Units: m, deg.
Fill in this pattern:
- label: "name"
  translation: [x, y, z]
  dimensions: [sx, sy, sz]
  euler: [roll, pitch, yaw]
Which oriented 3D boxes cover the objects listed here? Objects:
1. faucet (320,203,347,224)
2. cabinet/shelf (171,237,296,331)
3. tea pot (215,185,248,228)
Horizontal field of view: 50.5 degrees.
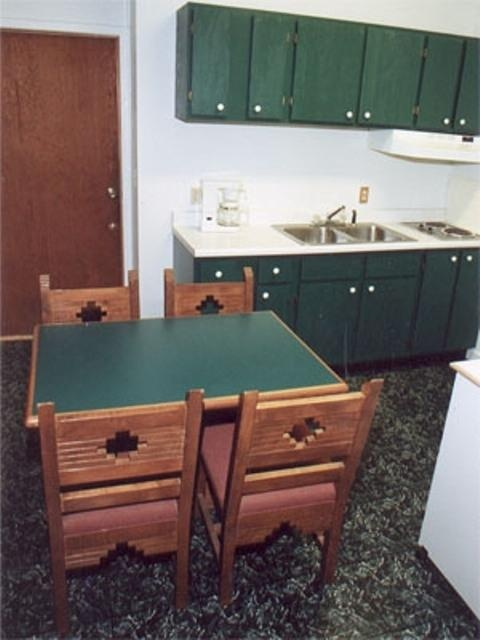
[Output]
- label: "faucet"
  translation: [0.621, -0.709, 3.357]
  dimensions: [0.135, 0.141, 0.378]
  euler: [7, 23, 10]
- label: "cabinet/shelf"
  translation: [-0.060, -0.320, 2.981]
  dimensions: [0.484, 0.847, 0.505]
  euler: [-4, 13, -15]
- label: "tea pot"
  translation: [-0.047, -0.710, 3.161]
  dimensions: [0.221, 0.260, 0.161]
  euler: [-5, 22, -19]
